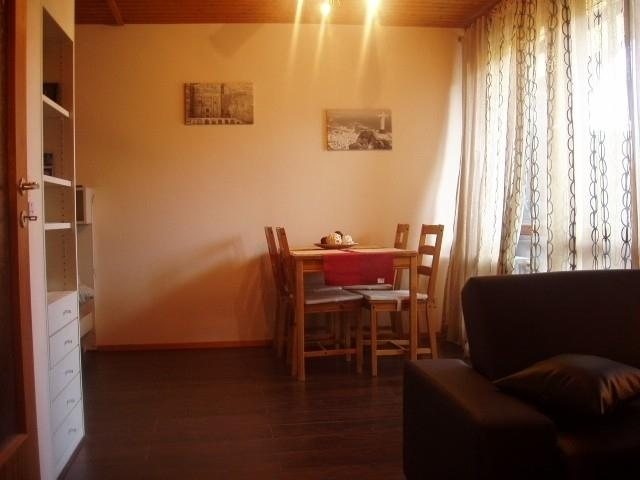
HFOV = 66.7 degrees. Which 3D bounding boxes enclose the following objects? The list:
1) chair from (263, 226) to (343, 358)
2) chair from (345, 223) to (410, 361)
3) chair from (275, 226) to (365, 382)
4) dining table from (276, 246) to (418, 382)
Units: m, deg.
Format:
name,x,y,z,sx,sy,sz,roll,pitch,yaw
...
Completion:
name,x,y,z,sx,sy,sz,roll,pitch,yaw
chair,-0.316,0.407,4.726,0.884,1.616,0.892,-1,4,-9
chair,0.552,0.150,4.877,0.562,1.091,0.563,1,-1,-5
chair,-0.145,0.454,4.526,0.941,1.769,1.004,-2,4,-8
dining table,0.222,0.527,4.091,0.896,0.983,1.001,-1,3,-13
